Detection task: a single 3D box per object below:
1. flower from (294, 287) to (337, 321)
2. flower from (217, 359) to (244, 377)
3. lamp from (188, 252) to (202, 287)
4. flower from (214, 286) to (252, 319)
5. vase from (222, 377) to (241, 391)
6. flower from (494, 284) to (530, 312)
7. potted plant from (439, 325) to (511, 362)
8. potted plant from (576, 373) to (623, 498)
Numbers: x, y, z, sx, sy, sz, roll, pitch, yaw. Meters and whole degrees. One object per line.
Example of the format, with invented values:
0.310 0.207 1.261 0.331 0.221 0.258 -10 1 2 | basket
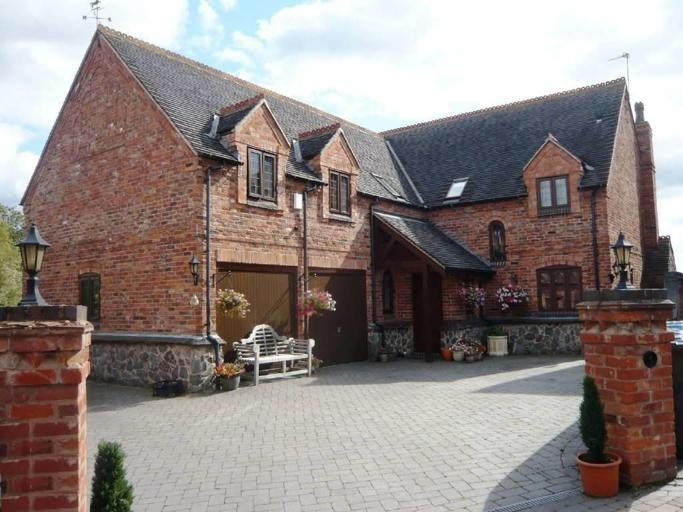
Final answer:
-0.816 1.352 17.287 1.026 0.747 0.884 0 18 -27 | flower
-2.739 2.701 14.292 0.391 0.211 0.363 -3 -6 25 | flower
-3.564 0.324 14.356 0.292 0.765 0.331 -1 0 -6 | lamp
-2.749 1.220 15.196 0.623 0.765 1.052 -1 0 10 | flower
-2.680 3.040 14.336 0.384 0.269 0.372 -2 -2 -3 | vase
6.011 1.518 20.910 0.989 0.806 1.001 3 9 30 | flower
4.568 2.871 19.983 2.861 0.972 1.196 -1 0 -43 | potted plant
3.385 2.365 7.835 0.552 1.243 0.429 -1 0 4 | potted plant
